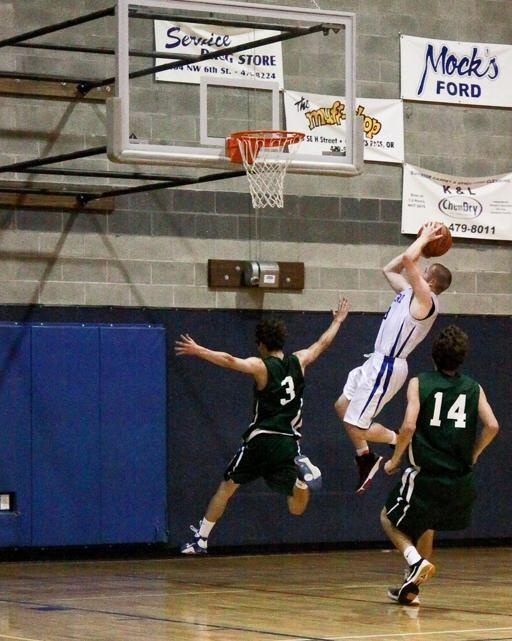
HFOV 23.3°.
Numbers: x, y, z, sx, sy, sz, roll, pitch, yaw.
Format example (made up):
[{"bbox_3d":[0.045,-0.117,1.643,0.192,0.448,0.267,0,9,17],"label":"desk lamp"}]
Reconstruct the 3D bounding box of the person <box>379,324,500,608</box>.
[{"bbox_3d":[1.008,0.825,6.900,0.621,1.580,0.576,-3,3,-5],"label":"person"}]

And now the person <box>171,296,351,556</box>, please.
[{"bbox_3d":[0.067,0.793,8.394,1.193,1.597,0.899,-3,3,-6],"label":"person"}]

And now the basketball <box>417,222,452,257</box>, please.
[{"bbox_3d":[1.060,-0.493,7.575,0.202,0.212,0.204,11,-8,28],"label":"basketball"}]

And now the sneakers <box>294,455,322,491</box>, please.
[{"bbox_3d":[0.340,0.982,8.062,0.139,0.244,0.101,-35,-1,-30],"label":"sneakers"}]

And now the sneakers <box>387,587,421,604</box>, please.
[{"bbox_3d":[0.824,1.544,6.972,0.084,0.098,0.235,4,2,-9],"label":"sneakers"}]
